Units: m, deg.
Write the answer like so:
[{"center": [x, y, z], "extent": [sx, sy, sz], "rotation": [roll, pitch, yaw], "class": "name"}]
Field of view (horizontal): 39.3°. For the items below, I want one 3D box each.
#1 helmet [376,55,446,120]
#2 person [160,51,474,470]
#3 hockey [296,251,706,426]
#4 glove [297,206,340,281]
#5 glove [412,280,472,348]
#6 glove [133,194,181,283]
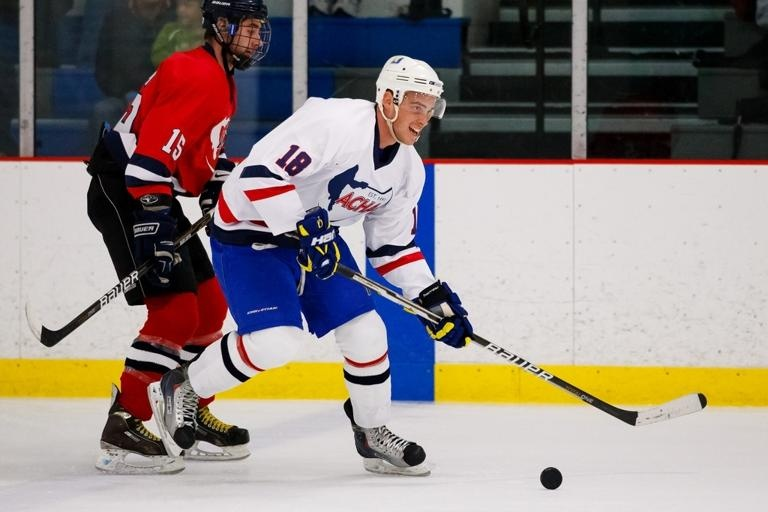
[{"center": [0.093, -0.786, 5.023], "extent": [0.380, 0.287, 0.282], "rotation": [11, 11, 14], "class": "helmet"}, {"center": [-0.290, 0.059, 4.974], "extent": [1.401, 1.929, 0.506], "rotation": [1, 11, 4], "class": "person"}, {"center": [0.746, 0.453, 5.864], "extent": [1.798, 0.202, 0.214], "rotation": [23, -30, 6], "class": "hockey"}, {"center": [-0.308, -0.048, 4.862], "extent": [0.219, 0.307, 0.164], "rotation": [-21, 16, -38], "class": "glove"}, {"center": [0.294, 0.282, 5.184], "extent": [0.239, 0.322, 0.139], "rotation": [-39, 0, 8], "class": "glove"}, {"center": [-1.037, -0.082, 4.955], "extent": [0.240, 0.385, 0.154], "rotation": [-1, 0, -21], "class": "glove"}]
